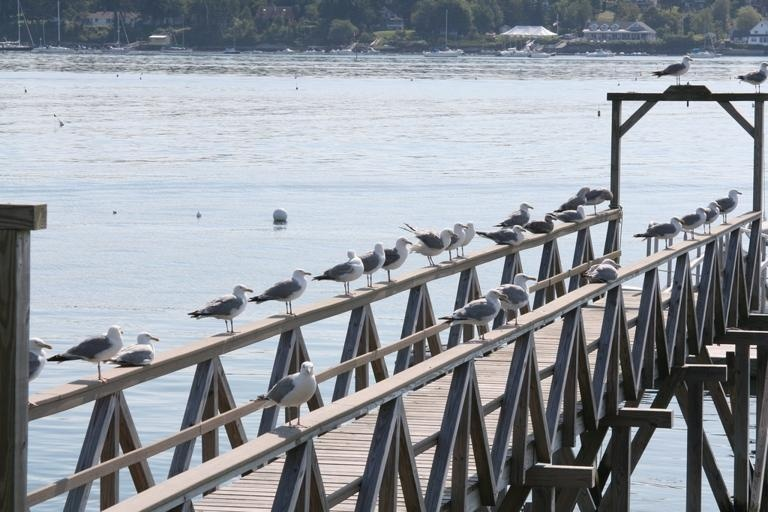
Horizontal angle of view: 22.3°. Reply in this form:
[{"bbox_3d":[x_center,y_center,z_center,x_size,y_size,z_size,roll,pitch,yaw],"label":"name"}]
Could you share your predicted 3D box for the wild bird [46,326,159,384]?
[{"bbox_3d":[-10.215,3.288,72.358,3.423,1.458,0.644,-1,12,-3],"label":"wild bird"}]
